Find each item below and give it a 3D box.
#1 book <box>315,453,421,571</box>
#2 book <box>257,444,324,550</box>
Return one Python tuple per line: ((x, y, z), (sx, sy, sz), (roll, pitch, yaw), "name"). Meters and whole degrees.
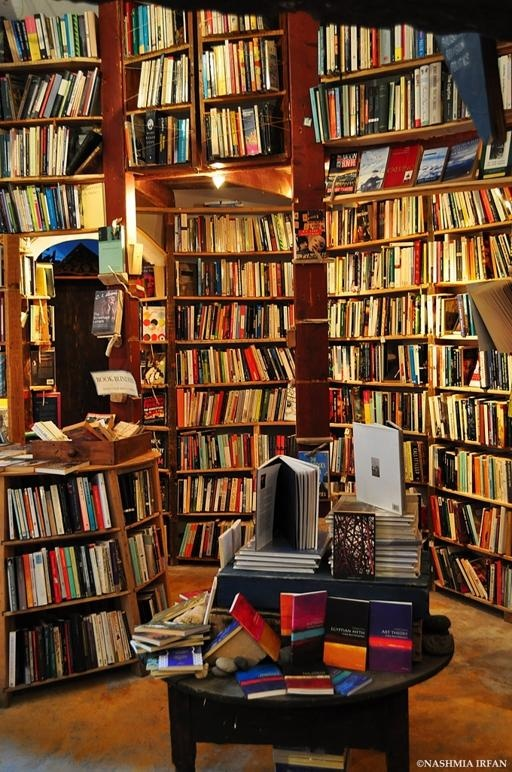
((0.365, 0.434, 1.917), (0.288, 0.247, 0.373), (0, 3, 10), "book")
((0.097, 0.364, 1.919), (0.191, 0.268, 0.222), (0, 2, 5), "book")
